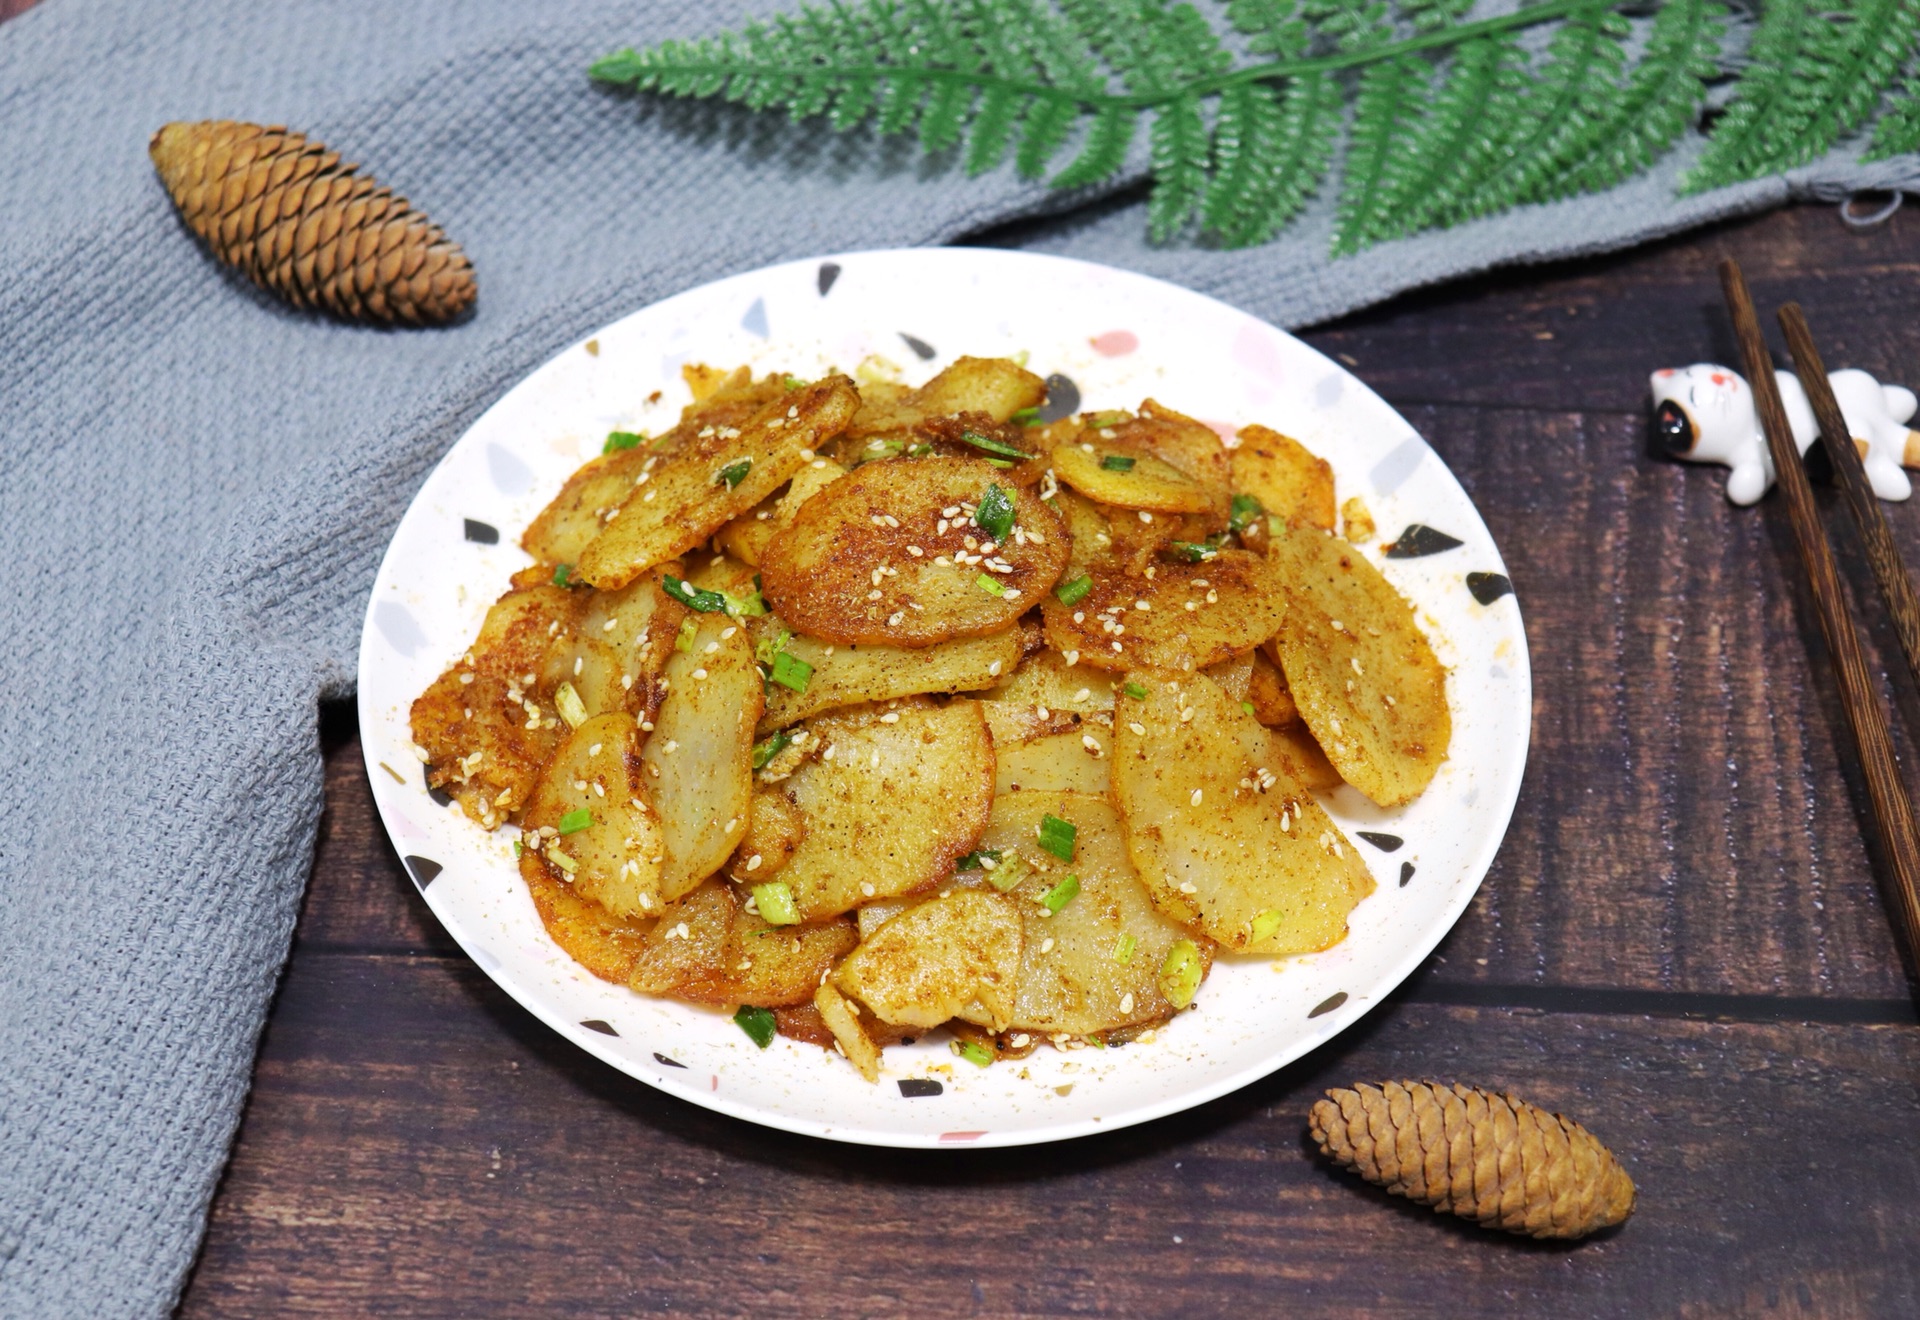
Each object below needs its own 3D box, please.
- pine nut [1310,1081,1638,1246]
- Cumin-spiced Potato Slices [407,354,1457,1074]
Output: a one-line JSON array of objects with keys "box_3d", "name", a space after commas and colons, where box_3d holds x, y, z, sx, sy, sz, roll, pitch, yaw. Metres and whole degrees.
[{"box_3d": [1.214, 1.186, 5.031, 0.776, 0.228, 0.298, 17, 77, 8], "name": "pine nut"}, {"box_3d": [-0.051, 0.146, 5.143, 2.346, 0.429, 1.700, -3, 75, 3], "name": "Cumin-spiced Potato Slices"}]
